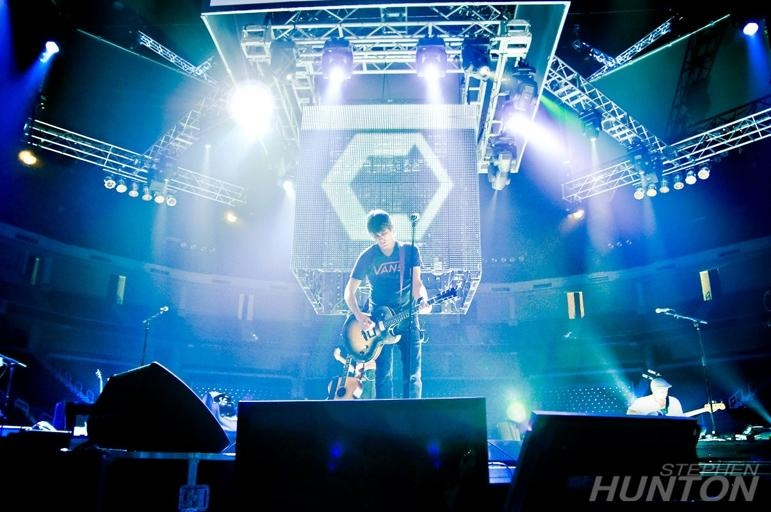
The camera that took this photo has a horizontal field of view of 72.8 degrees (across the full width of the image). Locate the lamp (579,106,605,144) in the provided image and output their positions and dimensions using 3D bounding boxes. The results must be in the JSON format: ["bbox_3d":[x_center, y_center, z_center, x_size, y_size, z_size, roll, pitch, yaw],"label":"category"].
[{"bbox_3d":[4.374,-2.755,11.105,0.570,0.726,0.577,-4,-11,27],"label":"lamp"}]

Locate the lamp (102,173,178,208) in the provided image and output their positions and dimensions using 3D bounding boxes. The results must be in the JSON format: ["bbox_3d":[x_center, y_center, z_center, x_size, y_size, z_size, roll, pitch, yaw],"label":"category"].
[{"bbox_3d":[-6.137,-1.661,12.899,1.621,0.492,0.370,14,-59,-12],"label":"lamp"}]

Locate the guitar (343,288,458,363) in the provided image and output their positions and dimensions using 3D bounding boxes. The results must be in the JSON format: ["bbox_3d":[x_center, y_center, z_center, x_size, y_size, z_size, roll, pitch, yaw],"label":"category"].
[{"bbox_3d":[0.212,0.855,6.749,1.806,0.712,0.224,-27,-15,23],"label":"guitar"}]

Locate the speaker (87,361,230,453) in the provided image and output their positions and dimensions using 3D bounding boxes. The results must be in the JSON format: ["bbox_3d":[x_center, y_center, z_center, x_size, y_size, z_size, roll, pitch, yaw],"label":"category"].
[{"bbox_3d":[-2.014,1.371,4.511,0.933,0.875,0.280,-6,9,3],"label":"speaker"}]

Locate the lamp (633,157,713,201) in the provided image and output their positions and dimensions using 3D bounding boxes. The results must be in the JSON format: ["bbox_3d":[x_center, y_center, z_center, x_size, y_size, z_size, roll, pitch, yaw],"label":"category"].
[{"bbox_3d":[6.767,-1.857,12.273,1.714,0.653,0.301,-17,-65,45],"label":"lamp"}]

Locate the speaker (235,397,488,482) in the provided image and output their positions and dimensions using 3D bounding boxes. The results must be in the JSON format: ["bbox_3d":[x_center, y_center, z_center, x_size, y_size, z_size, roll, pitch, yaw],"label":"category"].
[{"bbox_3d":[-0.164,1.570,4.265,1.574,0.795,1.044,2,-4,3],"label":"speaker"}]
